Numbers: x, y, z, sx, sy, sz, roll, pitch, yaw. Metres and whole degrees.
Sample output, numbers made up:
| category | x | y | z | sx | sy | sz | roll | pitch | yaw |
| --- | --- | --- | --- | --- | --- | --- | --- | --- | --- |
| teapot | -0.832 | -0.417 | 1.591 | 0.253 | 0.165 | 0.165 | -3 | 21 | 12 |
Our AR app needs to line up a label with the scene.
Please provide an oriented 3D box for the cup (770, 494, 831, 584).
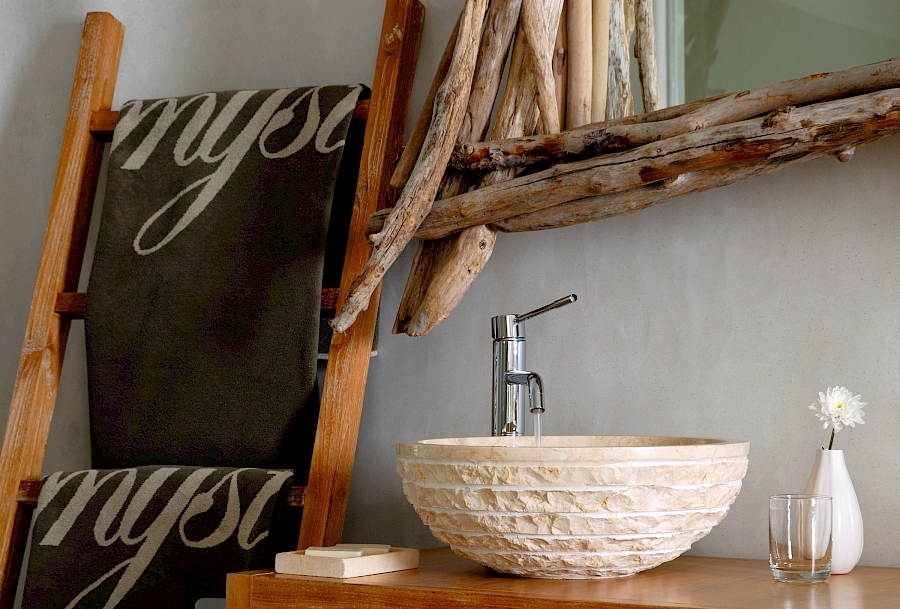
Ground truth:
| category | x | y | z | sx | sy | sz | roll | pitch | yaw |
| --- | --- | --- | --- | --- | --- | --- | --- | --- | --- |
| cup | 0.603 | 0.399 | 1.700 | 0.117 | 0.143 | 0.131 | 0 | -8 | 17 |

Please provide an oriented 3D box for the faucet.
| category | x | y | z | sx | sy | sz | roll | pitch | yaw |
| --- | --- | --- | --- | --- | --- | --- | --- | --- | --- |
| faucet | 0.157 | 0.118 | 1.902 | 0.142 | 0.276 | 0.199 | 4 | -12 | -11 |
